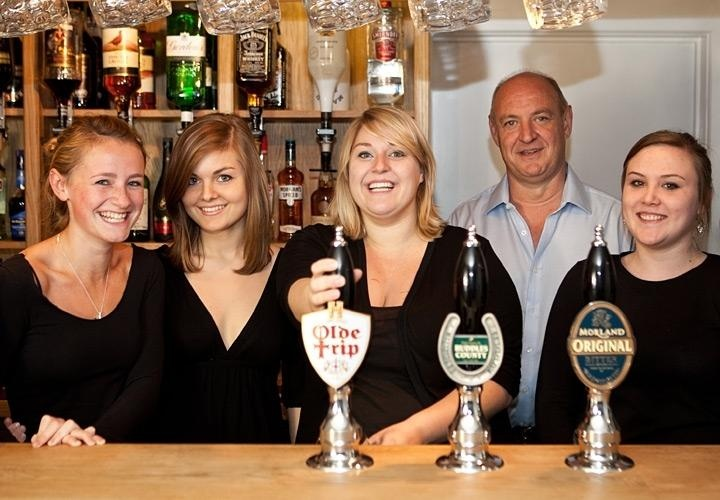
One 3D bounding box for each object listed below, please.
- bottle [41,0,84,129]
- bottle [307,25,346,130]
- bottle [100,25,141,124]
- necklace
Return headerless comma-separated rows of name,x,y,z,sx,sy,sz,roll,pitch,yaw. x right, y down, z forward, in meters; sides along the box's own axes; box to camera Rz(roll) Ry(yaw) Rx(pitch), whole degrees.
bottle,-1.283,-0.768,2.842,0.165,0.511,0.208,-7,8,-29
bottle,-0.144,-0.729,2.832,0.209,0.612,0.202,-2,-28,-1
bottle,-1.005,-0.739,2.773,0.150,0.396,0.097,-6,7,-23
necklace,-0.943,0.121,2.242,0.121,0.361,0.055,-20,-14,-22
